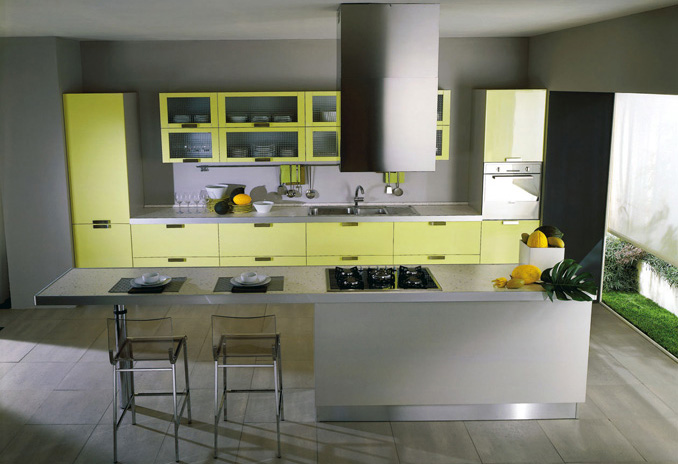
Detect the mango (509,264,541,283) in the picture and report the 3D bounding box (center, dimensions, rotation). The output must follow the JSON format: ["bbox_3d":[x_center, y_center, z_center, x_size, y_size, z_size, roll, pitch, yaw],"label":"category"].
[{"bbox_3d":[1.549,0.350,4.566,0.291,0.150,0.142,-5,12,-17],"label":"mango"}]

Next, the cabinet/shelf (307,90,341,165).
[{"bbox_3d":[-0.205,-1.282,6.679,0.397,0.830,0.144,1,12,9],"label":"cabinet/shelf"}]

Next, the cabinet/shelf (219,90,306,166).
[{"bbox_3d":[-0.940,-1.288,6.675,0.967,0.706,0.293,-1,6,-1],"label":"cabinet/shelf"}]

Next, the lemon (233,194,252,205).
[{"bbox_3d":[-1.209,-0.404,6.822,0.143,0.083,0.172,1,-1,22],"label":"lemon"}]

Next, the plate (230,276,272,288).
[{"bbox_3d":[-0.724,0.387,4.529,0.335,0.087,0.179,-3,11,-10],"label":"plate"}]

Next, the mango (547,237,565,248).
[{"bbox_3d":[1.858,0.085,4.677,0.163,0.091,0.075,-5,12,-19],"label":"mango"}]

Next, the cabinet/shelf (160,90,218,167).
[{"bbox_3d":[-1.821,-1.278,6.663,0.972,0.982,0.397,-1,7,-3],"label":"cabinet/shelf"}]

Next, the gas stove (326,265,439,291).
[{"bbox_3d":[0.350,0.380,4.636,0.917,0.115,0.459,-1,11,0],"label":"gas stove"}]

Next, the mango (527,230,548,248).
[{"bbox_3d":[1.678,0.070,4.642,0.134,0.156,0.128,3,13,15],"label":"mango"}]

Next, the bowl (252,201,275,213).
[{"bbox_3d":[-0.956,-0.324,6.935,0.269,0.128,0.372,-3,11,-8],"label":"bowl"}]

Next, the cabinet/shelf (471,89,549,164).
[{"bbox_3d":[1.957,-1.251,6.974,1.175,1.029,0.794,0,7,4],"label":"cabinet/shelf"}]

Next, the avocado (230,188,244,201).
[{"bbox_3d":[-1.285,-0.479,6.951,0.131,0.148,0.166,-1,-16,3],"label":"avocado"}]

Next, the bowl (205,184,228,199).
[{"bbox_3d":[-1.563,-0.535,6.978,0.223,0.135,0.217,-1,12,0],"label":"bowl"}]

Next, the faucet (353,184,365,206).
[{"bbox_3d":[0.259,-0.476,7.124,0.155,0.272,0.081,-1,12,3],"label":"faucet"}]

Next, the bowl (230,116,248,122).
[{"bbox_3d":[-1.219,-1.378,6.649,0.199,0.081,0.038,-2,12,-6],"label":"bowl"}]

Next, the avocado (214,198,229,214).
[{"bbox_3d":[-1.431,-0.314,6.762,0.200,0.172,0.138,-6,13,-25],"label":"avocado"}]
